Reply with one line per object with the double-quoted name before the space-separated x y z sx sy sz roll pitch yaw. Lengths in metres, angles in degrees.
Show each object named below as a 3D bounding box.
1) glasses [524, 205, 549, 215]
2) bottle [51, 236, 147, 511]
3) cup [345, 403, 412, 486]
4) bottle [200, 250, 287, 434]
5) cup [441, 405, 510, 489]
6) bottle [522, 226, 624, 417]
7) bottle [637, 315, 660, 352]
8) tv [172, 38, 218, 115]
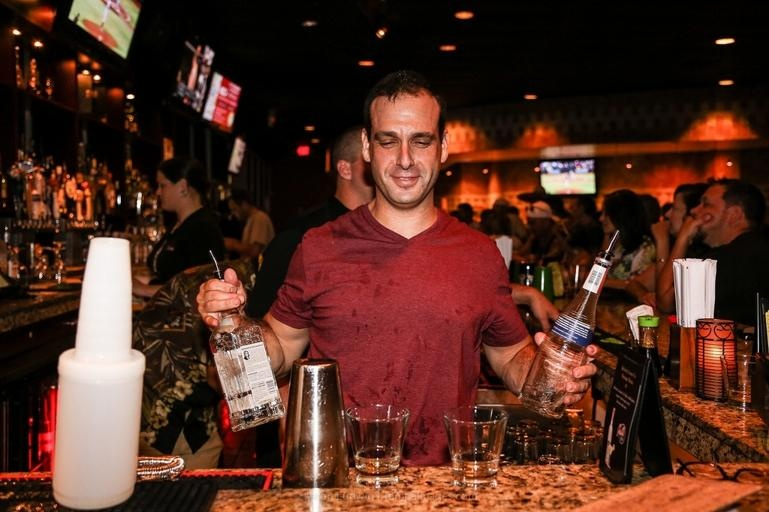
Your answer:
"glasses" 1.943 -0.571 7.788 0.232 0.060 0.215 1 7 -12
"bottle" -0.727 0.292 1.539 0.233 0.671 0.170 -10 14 -37
"cup" -0.015 0.517 1.739 0.207 0.189 0.200 -1 -3 0
"bottle" -0.407 0.329 1.816 0.187 0.319 0.303 -4 10 -16
"cup" 0.249 0.504 1.652 0.199 0.189 0.196 -2 -9 0
"bottle" 0.569 0.243 1.916 0.265 0.634 0.305 3 11 18
"bottle" 1.042 0.303 2.438 0.069 0.143 0.124 6 12 34
"tv" -1.844 -1.755 5.977 0.152 0.524 0.556 11 0 6
